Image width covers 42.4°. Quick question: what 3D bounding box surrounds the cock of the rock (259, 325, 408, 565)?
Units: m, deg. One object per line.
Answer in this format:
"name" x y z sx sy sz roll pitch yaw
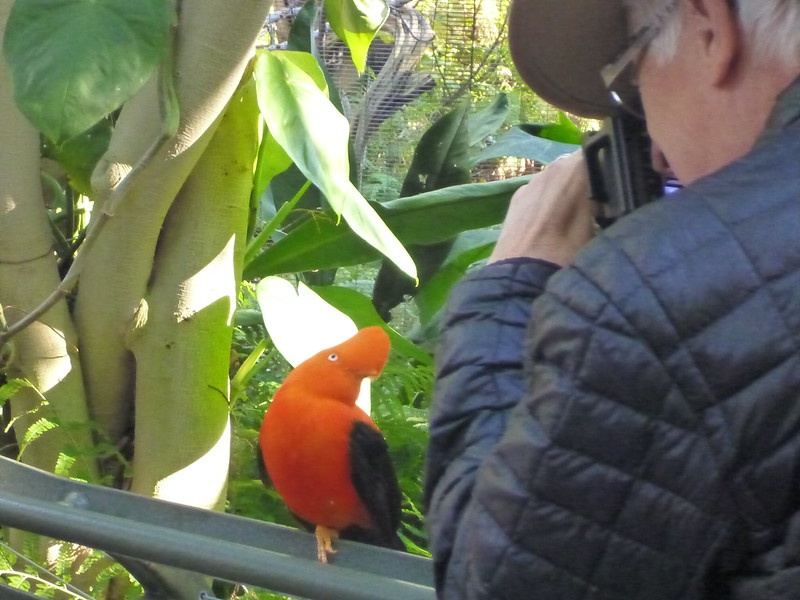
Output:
"cock of the rock" -0.043 0.130 0.956 0.193 0.211 0.118 12 -6 -38

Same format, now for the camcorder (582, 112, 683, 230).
"camcorder" 0.185 -0.108 0.857 0.032 0.085 0.086 -7 -1 -23
